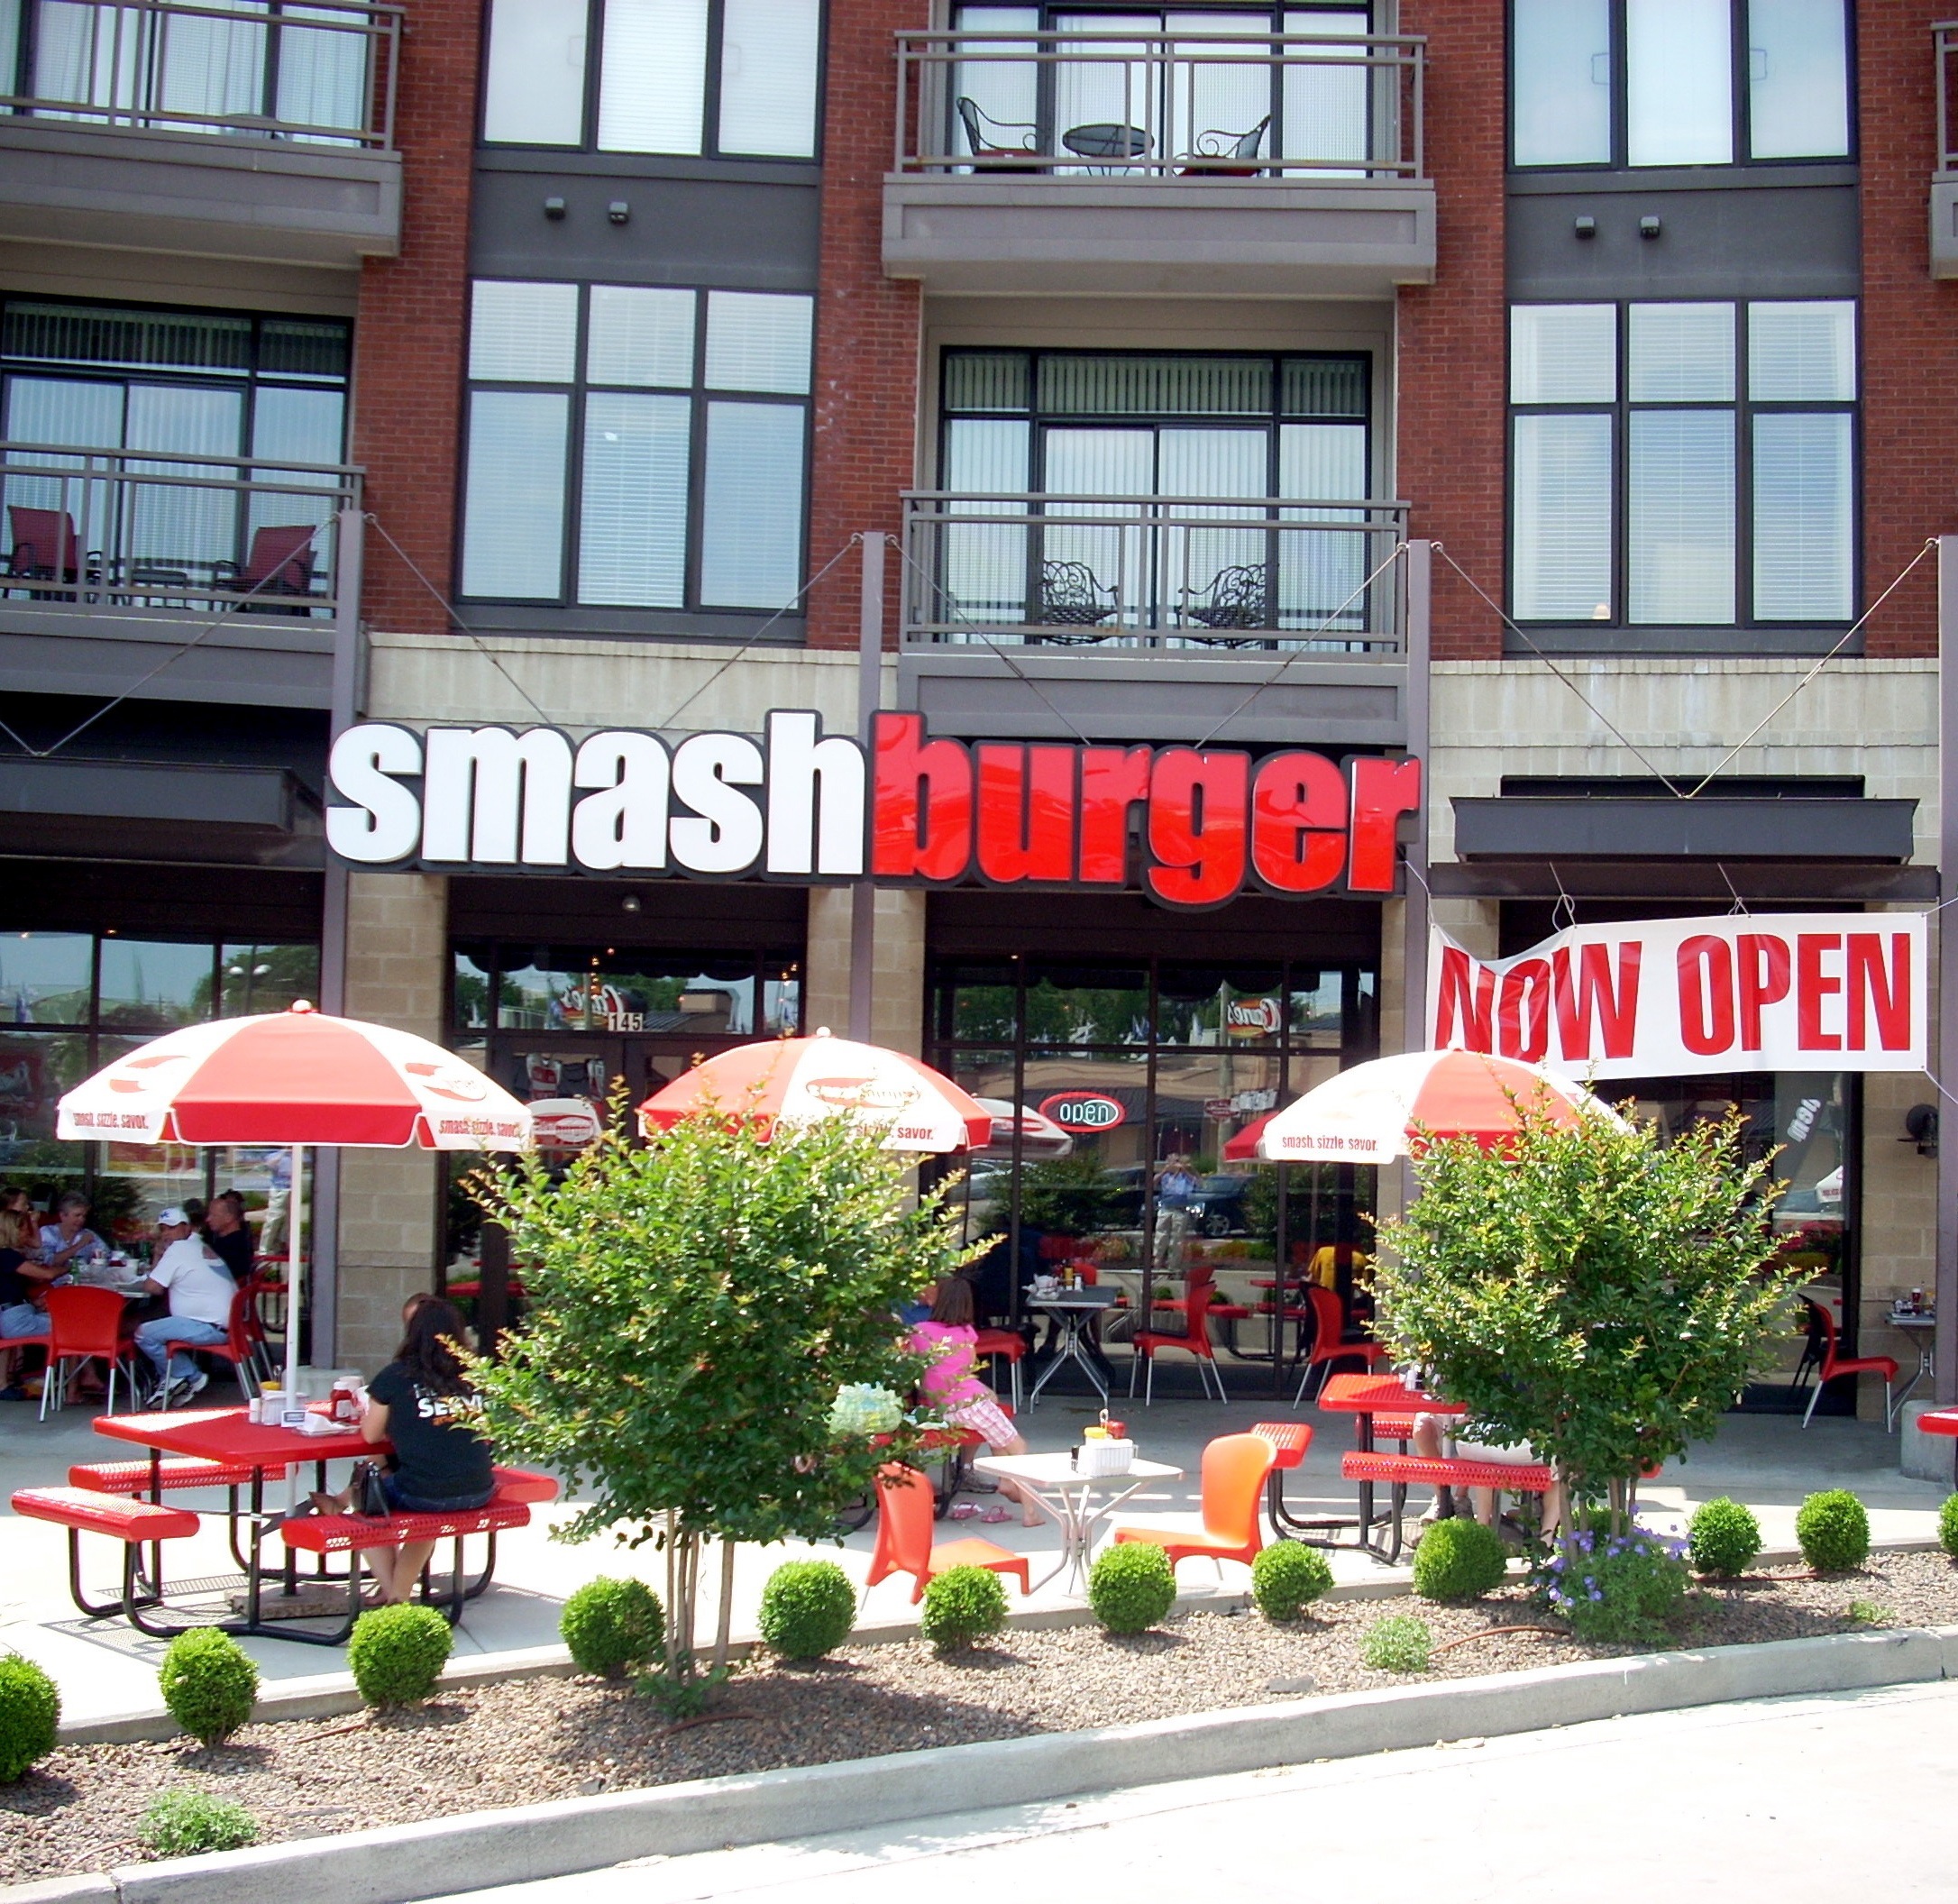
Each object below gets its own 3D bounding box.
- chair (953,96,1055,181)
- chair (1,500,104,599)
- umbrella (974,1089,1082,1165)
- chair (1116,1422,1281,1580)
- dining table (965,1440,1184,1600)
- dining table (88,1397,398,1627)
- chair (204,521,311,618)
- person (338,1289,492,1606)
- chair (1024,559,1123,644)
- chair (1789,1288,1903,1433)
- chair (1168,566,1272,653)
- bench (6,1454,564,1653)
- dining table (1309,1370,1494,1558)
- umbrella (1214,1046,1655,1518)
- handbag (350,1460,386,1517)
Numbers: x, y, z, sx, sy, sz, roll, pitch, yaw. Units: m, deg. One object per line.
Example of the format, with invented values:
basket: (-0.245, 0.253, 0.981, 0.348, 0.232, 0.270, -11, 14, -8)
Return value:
chair: (0.114, -6.595, 24.712, 1.069, 0.706, 0.662, 1, 8, 2)
chair: (-7.160, -3.134, 23.617, 0.694, 0.807, 1.461, 1, -2, -21)
umbrella: (0.368, 1.435, 24.911, 0.563, 0.234, 0.957, 8, -8, 24)
chair: (1.170, 2.948, 16.159, 0.818, 0.753, 1.230, 0, -2, 6)
dining table: (0.662, 3.124, 16.690, 1.098, 0.866, 1.002, 2, -5, -21)
dining table: (-3.917, 2.849, 15.724, 1.433, 0.809, 1.181, 0, -4, 43)
chair: (-5.554, -3.045, 23.864, 0.723, 0.780, 1.306, 1, -2, -15)
person: (-2.822, 2.507, 15.317, 0.697, 1.552, 0.673, 0, -3, 3)
chair: (0.758, -2.853, 24.418, 0.703, 0.735, 0.896, 0, -2, 1)
chair: (6.806, 3.185, 23.760, 0.799, 0.941, 1.832, -1, -2, 15)
chair: (2.006, -2.781, 24.343, 0.931, 0.841, 0.705, 2, -3, 1)
bench: (-3.821, 3.135, 15.484, 1.508, 0.344, 1.430, 2, 0, 20)
dining table: (2.388, 2.973, 18.023, 0.956, 0.800, 0.955, 2, 0, 36)
umbrella: (2.581, 1.870, 18.204, 2.965, 2.054, 2.709, -2, 2, 3)
handbag: (-3.046, 2.664, 15.223, 0.157, 0.233, 0.399, 0, -2, -12)
